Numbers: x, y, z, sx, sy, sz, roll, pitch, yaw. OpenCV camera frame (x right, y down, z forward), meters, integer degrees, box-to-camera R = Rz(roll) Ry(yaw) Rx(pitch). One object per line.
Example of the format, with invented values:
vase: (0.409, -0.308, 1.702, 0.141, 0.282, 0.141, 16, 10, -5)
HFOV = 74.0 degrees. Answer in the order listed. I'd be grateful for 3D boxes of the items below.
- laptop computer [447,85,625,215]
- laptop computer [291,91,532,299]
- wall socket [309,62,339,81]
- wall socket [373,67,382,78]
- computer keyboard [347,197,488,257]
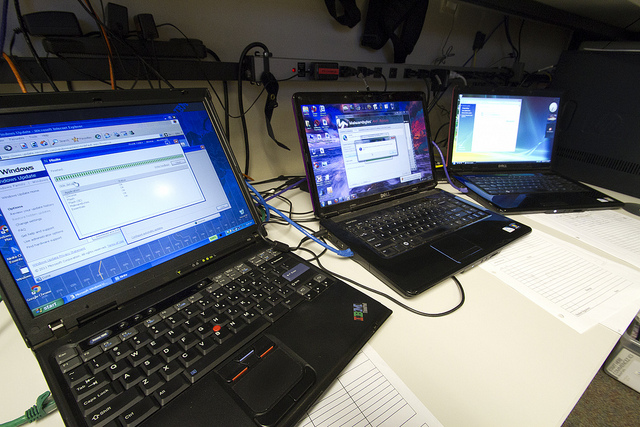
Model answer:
laptop computer: (0.671, -0.207, 1.322, 0.458, 0.297, 0.361, -1, 23, -14)
laptop computer: (0.259, -0.109, 1.120, 0.561, 0.338, 0.530, -8, 31, -25)
wall socket: (0.016, -0.451, 1.359, 0.091, 0.054, 0.020, -5, 16, -17)
wall socket: (0.198, -0.493, 1.482, 0.035, 0.037, 0.004, -12, 37, -18)
computer keyboard: (0.279, 0.024, 1.181, 0.507, 0.021, 0.227, -16, 36, -38)
